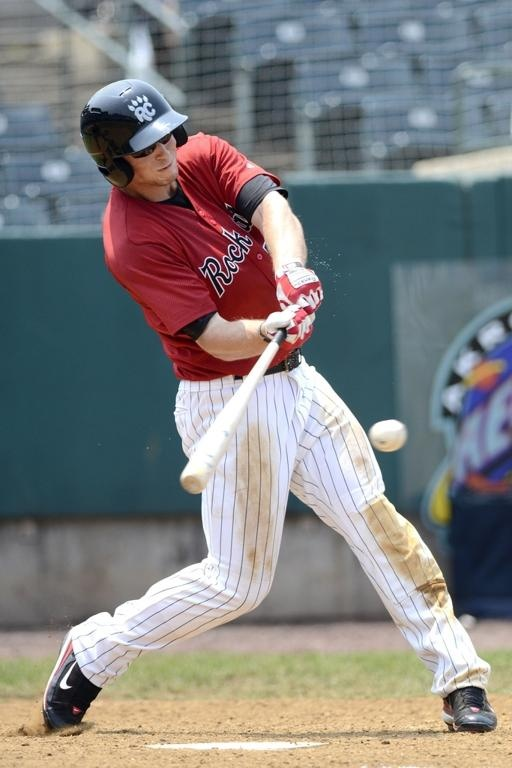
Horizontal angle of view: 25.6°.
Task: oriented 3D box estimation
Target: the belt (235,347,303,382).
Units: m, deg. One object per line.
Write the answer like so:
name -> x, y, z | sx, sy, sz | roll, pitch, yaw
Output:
belt -> 0.051, -0.054, 3.150 | 0.139, 0.034, 0.097 | -14, -4, 0

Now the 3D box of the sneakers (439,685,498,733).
sneakers -> 0.585, 0.895, 3.102 | 0.089, 0.080, 0.208 | 1, -12, -3

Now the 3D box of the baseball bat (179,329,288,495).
baseball bat -> -0.041, 0.066, 2.996 | 0.066, 0.075, 0.611 | -30, 19, 47

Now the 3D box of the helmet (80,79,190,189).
helmet -> -0.316, -0.715, 3.132 | 0.311, 0.244, 0.289 | 17, 47, 31

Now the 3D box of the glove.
glove -> 0.120, -0.200, 2.911 | 0.097, 0.188, 0.160 | 3, 27, 38

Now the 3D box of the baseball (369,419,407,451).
baseball -> 0.395, 0.160, 3.374 | 0.112, 0.074, 0.107 | -6, 6, 4

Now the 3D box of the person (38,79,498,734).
person -> -0.050, 0.064, 3.120 | 1.263, 1.847, 0.571 | -4, -6, 9
